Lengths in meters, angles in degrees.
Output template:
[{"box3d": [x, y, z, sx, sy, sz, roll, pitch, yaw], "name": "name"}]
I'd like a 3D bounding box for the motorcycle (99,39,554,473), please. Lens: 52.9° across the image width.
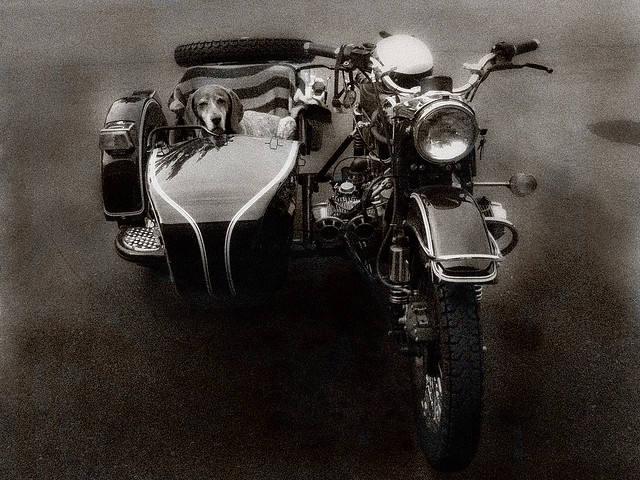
[{"box3d": [-0.040, -0.211, 3.821, 2.466, 1.956, 1.715, 12, 21, 30], "name": "motorcycle"}]
